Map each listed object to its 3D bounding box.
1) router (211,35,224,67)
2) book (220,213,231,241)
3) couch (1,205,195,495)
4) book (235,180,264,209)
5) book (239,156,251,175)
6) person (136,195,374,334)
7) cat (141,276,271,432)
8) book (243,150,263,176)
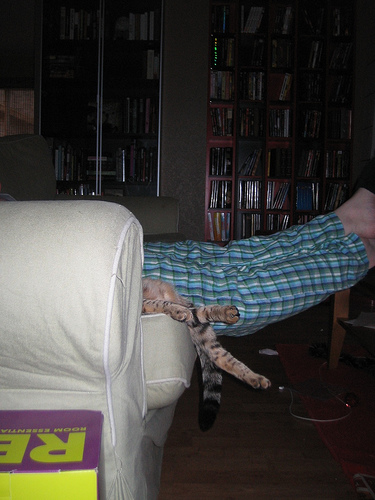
[{"bbox_3d":[0.249,-1.647,3.643,0.106,0.264,0.042,-1,5,3],"label":"router"},{"bbox_3d":[0.324,-0.210,3.774,0.119,0.221,0.169,-1,22,3],"label":"book"},{"bbox_3d":[-0.102,0.115,0.803,0.347,0.457,0.474,3,7,9],"label":"couch"},{"bbox_3d":[0.533,-0.476,3.820,0.250,0.239,0.063,-3,5,3],"label":"book"},{"bbox_3d":[0.482,-0.719,3.785,0.042,0.179,0.045,21,5,-20],"label":"book"},{"bbox_3d":[0.237,0.041,1.263,0.862,0.315,0.252,-8,55,-24],"label":"person"},{"bbox_3d":[0.028,0.194,0.946,0.098,0.337,0.251,-15,-3,12],"label":"cat"},{"bbox_3d":[0.559,-0.740,3.743,0.046,0.188,0.188,16,58,-2],"label":"book"}]
